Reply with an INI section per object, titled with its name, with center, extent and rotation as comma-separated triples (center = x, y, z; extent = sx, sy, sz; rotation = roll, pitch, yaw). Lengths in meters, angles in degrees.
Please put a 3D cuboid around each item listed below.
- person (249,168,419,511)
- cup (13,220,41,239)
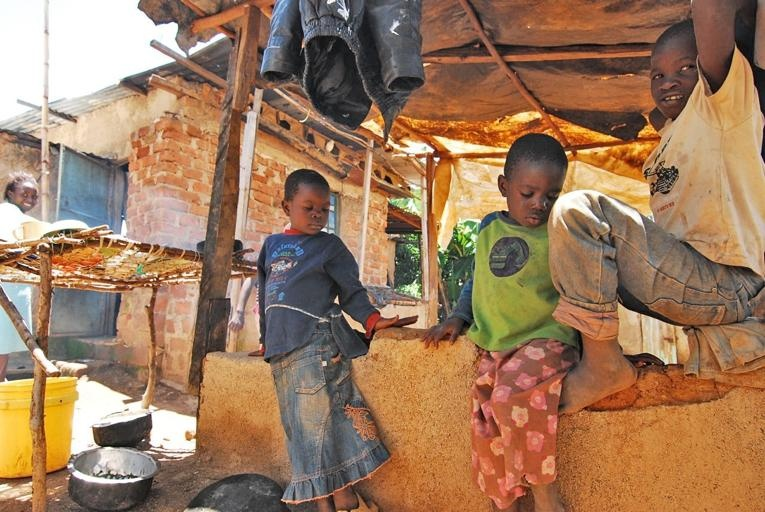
[person]
center = -0.381, 0.485, 4.295
extent = 0.915, 2.141, 0.395
rotation = 1, -7, 1
[cup]
center = -2.403, -0.172, 4.560
extent = 0.142, 0.109, 0.154
rotation = 1, -7, 0
